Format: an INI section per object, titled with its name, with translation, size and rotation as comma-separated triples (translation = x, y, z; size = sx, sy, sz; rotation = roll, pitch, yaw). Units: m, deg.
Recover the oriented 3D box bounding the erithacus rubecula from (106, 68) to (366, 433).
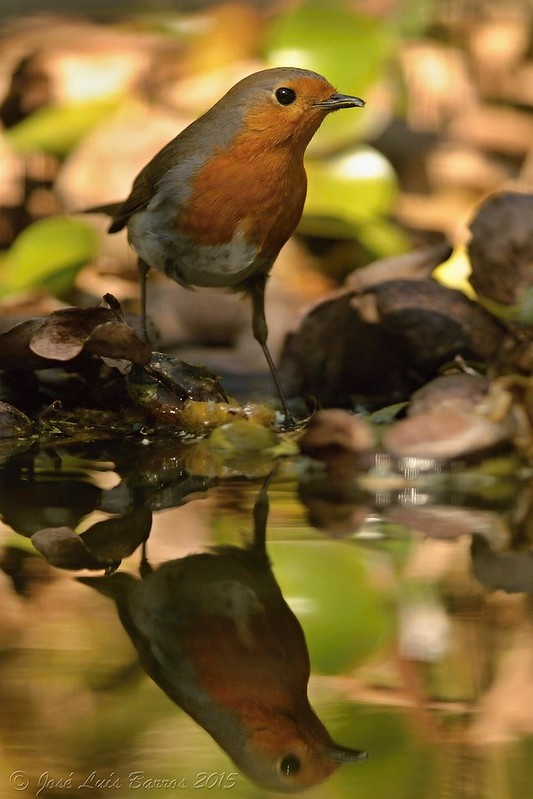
[erithacus rubecula]
translation = -0.090, -0.210, 1.018
size = 0.176, 0.350, 0.459
rotation = -11, 26, -37
